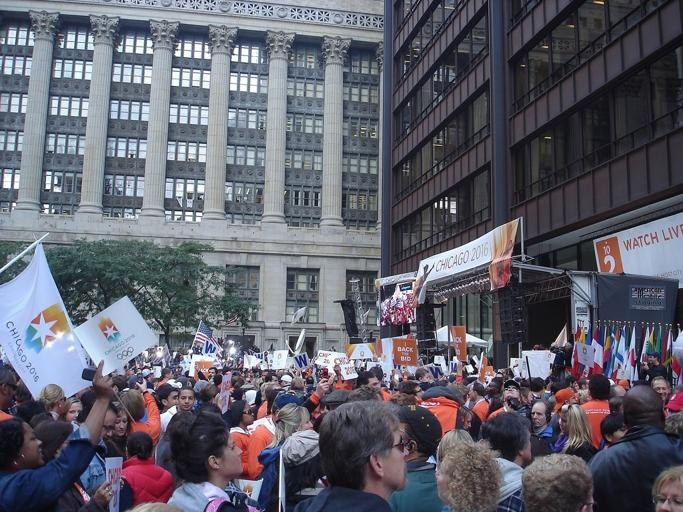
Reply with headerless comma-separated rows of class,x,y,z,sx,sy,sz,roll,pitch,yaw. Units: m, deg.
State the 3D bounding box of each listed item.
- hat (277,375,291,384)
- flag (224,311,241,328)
hat,-1.417,3.034,19.271,0.377,0.237,0.589,6,-11,2
flag,-8.460,4.842,60.482,1.480,1.602,0.077,10,0,-34
